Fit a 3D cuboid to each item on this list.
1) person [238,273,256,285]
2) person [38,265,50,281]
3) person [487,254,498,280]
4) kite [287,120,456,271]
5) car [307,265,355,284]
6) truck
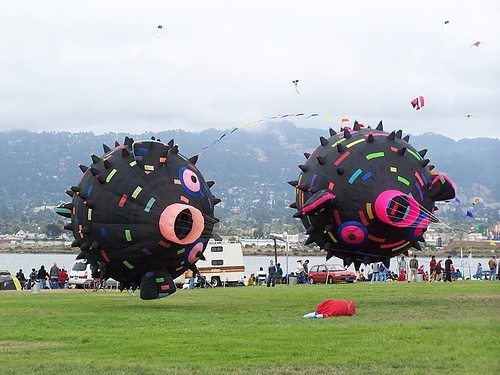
[{"bbox_3d":[-0.281,6.319,48.352,0.517,0.775,1.759,5,-1,-12],"label":"person"},{"bbox_3d":[-11.857,4.962,41.222,0.620,0.834,1.413,-1,-4,-15],"label":"person"},{"bbox_3d":[13.653,4.565,40.279,0.435,1.422,1.696,-3,-3,18],"label":"person"},{"bbox_3d":[4.474,0.504,27.621,6.415,5.806,5.260,-5,13,-29],"label":"kite"},{"bbox_3d":[5.102,5.464,44.897,1.844,1.247,2.729,2,-10,-39],"label":"car"},{"bbox_3d":[-2.473,4.932,46.397,4.245,2.533,2.827,2,-5,-13],"label":"truck"}]
